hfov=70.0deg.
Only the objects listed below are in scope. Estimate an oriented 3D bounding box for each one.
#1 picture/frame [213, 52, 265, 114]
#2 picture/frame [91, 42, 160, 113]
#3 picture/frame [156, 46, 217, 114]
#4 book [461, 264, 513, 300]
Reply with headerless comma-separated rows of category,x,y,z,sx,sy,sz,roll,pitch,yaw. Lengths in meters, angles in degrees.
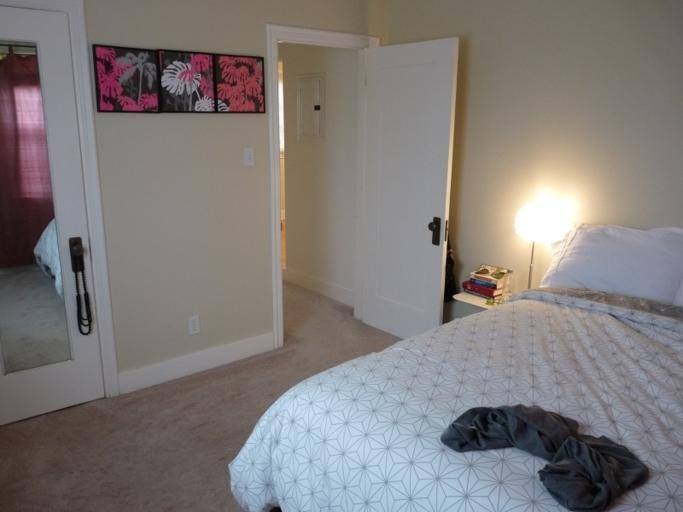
picture/frame,-0.774,-1.283,3.602,0.435,0.451,0.018,-7,11,-39
picture/frame,-1.434,-1.174,3.191,0.451,0.468,0.032,-7,11,-40
picture/frame,-1.097,-1.234,3.397,0.447,0.512,0.037,-6,11,-36
book,1.166,0.136,3.818,0.240,0.210,0.317,-10,16,-32
